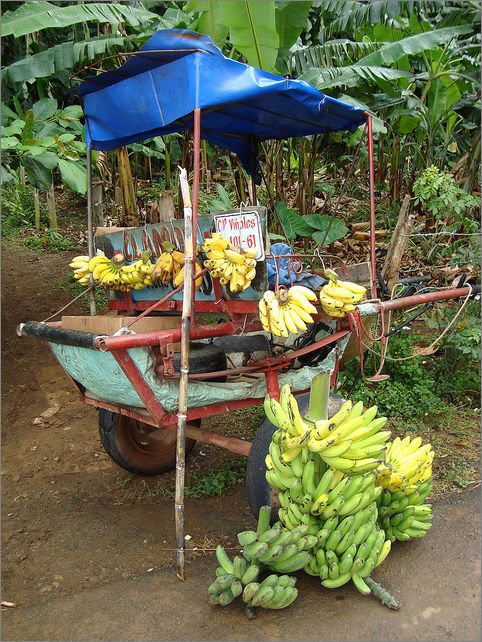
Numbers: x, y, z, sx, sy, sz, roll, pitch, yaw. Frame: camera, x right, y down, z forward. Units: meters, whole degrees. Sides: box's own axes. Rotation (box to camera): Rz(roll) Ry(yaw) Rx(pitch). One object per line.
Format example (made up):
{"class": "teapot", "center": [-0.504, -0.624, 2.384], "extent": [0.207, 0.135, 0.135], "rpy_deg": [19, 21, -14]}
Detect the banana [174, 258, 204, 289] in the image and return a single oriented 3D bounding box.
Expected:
{"class": "banana", "center": [-0.348, -0.312, 3.862], "extent": [0.198, 0.186, 0.053], "rpy_deg": [10, -4, 1]}

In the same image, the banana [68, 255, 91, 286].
{"class": "banana", "center": [-1.401, -0.429, 4.915], "extent": [0.114, 0.203, 0.296], "rpy_deg": [-2, -5, -6]}

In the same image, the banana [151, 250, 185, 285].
{"class": "banana", "center": [-0.515, -0.370, 4.037], "extent": [0.196, 0.221, 0.079], "rpy_deg": [19, -5, 3]}
